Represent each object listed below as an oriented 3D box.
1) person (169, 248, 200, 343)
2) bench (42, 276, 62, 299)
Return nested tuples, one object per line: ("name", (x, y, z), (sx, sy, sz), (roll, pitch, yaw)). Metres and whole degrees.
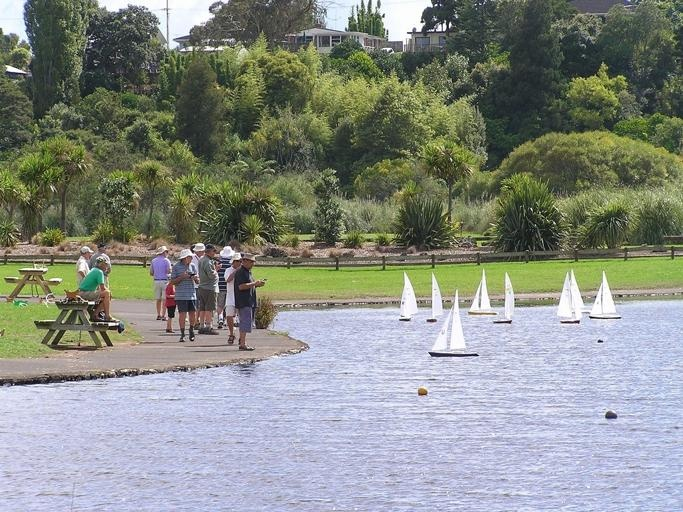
("person", (-7.702, 1.699, 79.211), (1.311, 4.361, 1.114), (2, 5, -28))
("bench", (-15.668, 1.747, 88.036), (1.036, 1.121, 1.115), (0, 3, -2))
